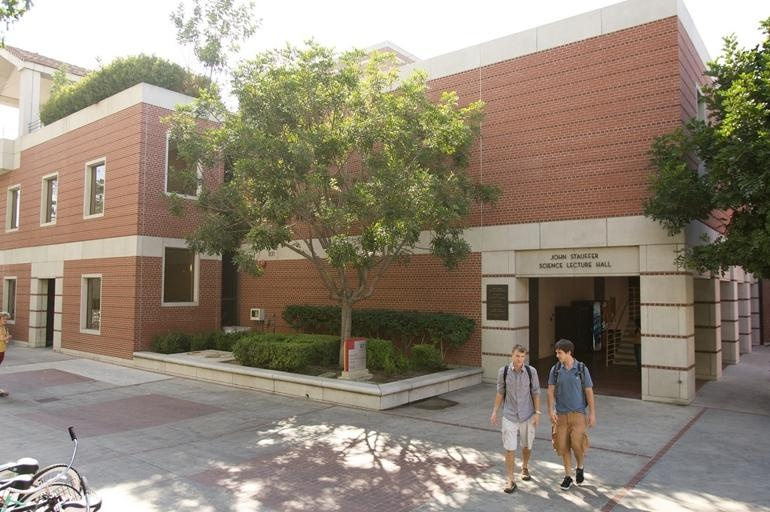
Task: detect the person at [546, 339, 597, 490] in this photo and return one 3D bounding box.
[{"bbox_3d":[3.853,3.209,11.005,0.872,3.012,0.902,2,7,18],"label":"person"}]

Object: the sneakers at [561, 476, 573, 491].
[{"bbox_3d":[3.710,4.644,10.846,0.152,0.156,0.365,-7,-16,39],"label":"sneakers"}]

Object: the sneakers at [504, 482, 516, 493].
[{"bbox_3d":[2.529,4.679,10.698,0.119,0.124,0.332,2,3,41],"label":"sneakers"}]
